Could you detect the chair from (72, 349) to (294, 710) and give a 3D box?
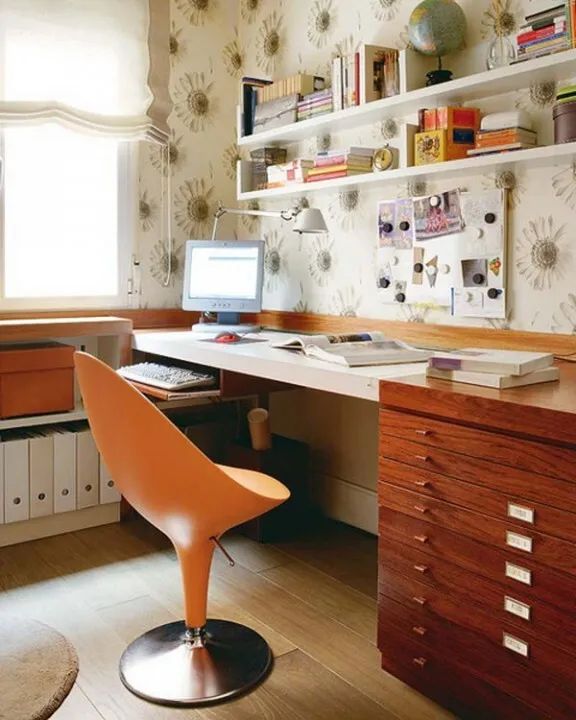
[{"bbox_3d":[-0.241,0.338,1.758,0.740,1.112,0.703,-3,8,-24],"label":"chair"}]

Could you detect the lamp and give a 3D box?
[{"bbox_3d":[-0.049,-0.361,2.570,0.760,0.697,0.420,3,3,36],"label":"lamp"}]

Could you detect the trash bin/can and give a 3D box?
[{"bbox_3d":[-0.018,0.528,2.559,0.375,0.519,0.368,-4,6,-40],"label":"trash bin/can"}]
